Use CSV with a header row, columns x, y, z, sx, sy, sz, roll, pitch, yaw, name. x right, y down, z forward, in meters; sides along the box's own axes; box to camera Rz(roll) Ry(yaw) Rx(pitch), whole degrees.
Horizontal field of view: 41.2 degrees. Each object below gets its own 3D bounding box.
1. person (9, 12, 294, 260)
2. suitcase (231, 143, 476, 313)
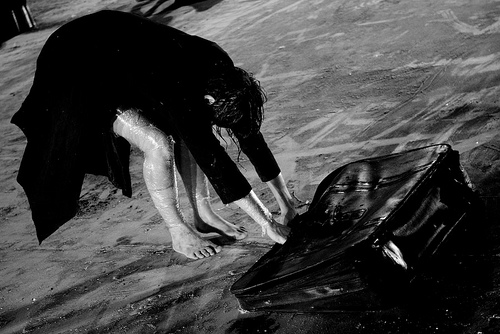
x,y,z,sx,sy,sz,roll,pitch,yaw,name
-0.419,-0.190,3.836,2.010,1.186,0.956,10,17,30,person
0.446,0.439,3.351,1.105,0.273,1.026,-15,17,35,suitcase
